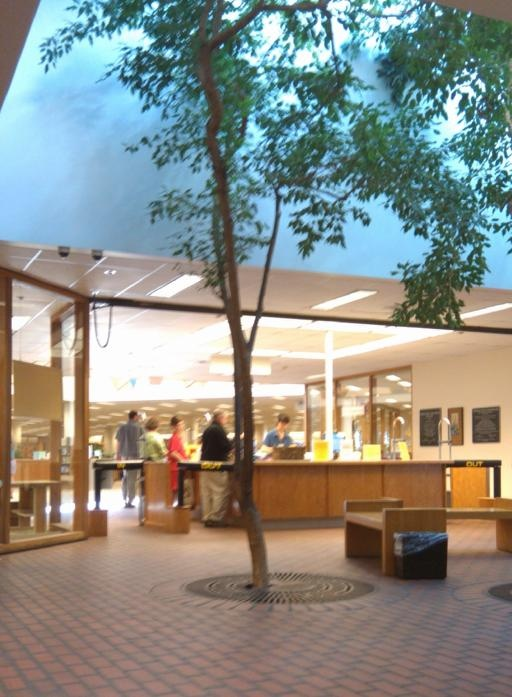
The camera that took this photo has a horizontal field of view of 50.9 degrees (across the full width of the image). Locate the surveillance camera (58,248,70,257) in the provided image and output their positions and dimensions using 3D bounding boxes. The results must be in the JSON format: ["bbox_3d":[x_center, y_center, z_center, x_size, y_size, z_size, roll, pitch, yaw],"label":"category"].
[{"bbox_3d":[-1.973,-0.981,5.548,0.079,0.076,0.142,0,-12,6],"label":"surveillance camera"}]

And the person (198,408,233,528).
[{"bbox_3d":[-0.621,1.888,8.542,0.474,1.776,0.796,-1,-7,-7],"label":"person"}]

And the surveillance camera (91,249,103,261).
[{"bbox_3d":[-1.661,-0.979,5.670,0.080,0.077,0.074,-2,14,-10],"label":"surveillance camera"}]

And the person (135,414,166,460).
[{"bbox_3d":[-1.840,1.623,9.694,0.488,0.762,0.992,0,-7,-12],"label":"person"}]

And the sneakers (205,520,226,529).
[{"bbox_3d":[-0.632,2.715,8.372,0.293,0.118,0.093,-2,-7,5],"label":"sneakers"}]
